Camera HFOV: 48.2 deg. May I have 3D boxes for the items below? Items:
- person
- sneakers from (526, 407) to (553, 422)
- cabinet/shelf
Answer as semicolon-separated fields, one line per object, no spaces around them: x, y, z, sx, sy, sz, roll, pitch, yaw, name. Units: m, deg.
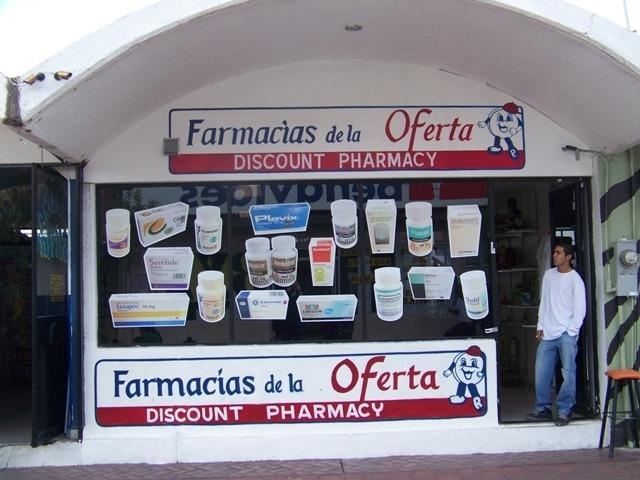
3.009;1.191;9.107;0.731;2.240;0.240;-8;-10;41;person
2.809;2.216;9.181;0.376;0.179;0.136;2;6;-2;sneakers
3.193;0.605;11.480;0.430;1.482;1.496;0;-3;-1;cabinet/shelf
